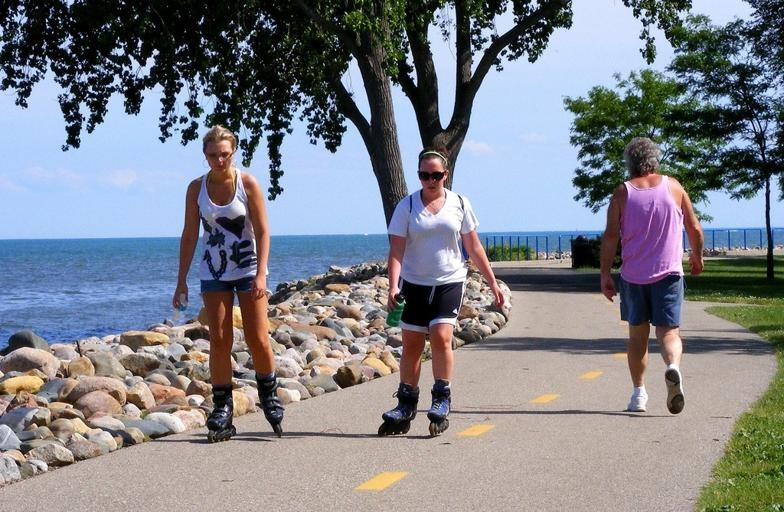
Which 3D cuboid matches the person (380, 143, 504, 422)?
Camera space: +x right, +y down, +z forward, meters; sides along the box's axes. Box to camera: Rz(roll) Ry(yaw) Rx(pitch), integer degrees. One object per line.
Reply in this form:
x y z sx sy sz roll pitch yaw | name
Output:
0.383 0.332 7.780 1.116 2.795 0.432 -3 3 1 | person

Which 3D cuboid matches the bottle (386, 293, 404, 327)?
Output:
0.038 0.530 7.738 0.176 0.338 0.344 -3 3 1 | bottle

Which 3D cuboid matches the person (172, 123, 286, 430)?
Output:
-1.553 0.265 7.672 1.031 3.029 0.925 0 6 -1 | person

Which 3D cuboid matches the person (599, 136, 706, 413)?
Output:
2.752 0.175 8.333 0.975 2.929 0.766 -2 3 24 | person
